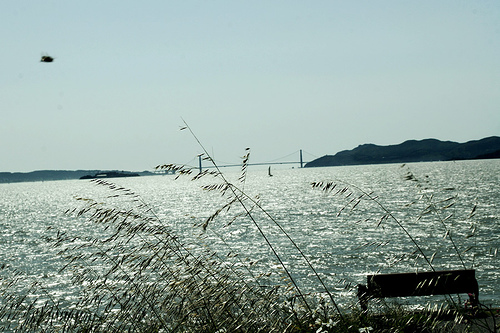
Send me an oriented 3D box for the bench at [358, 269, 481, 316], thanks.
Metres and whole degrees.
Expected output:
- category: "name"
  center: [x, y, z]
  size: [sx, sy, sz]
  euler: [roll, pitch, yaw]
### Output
- category: "bench"
  center: [4.709, 3.431, 14.782]
  size: [2.937, 1.205, 1.010]
  euler: [-10, -12, 30]
